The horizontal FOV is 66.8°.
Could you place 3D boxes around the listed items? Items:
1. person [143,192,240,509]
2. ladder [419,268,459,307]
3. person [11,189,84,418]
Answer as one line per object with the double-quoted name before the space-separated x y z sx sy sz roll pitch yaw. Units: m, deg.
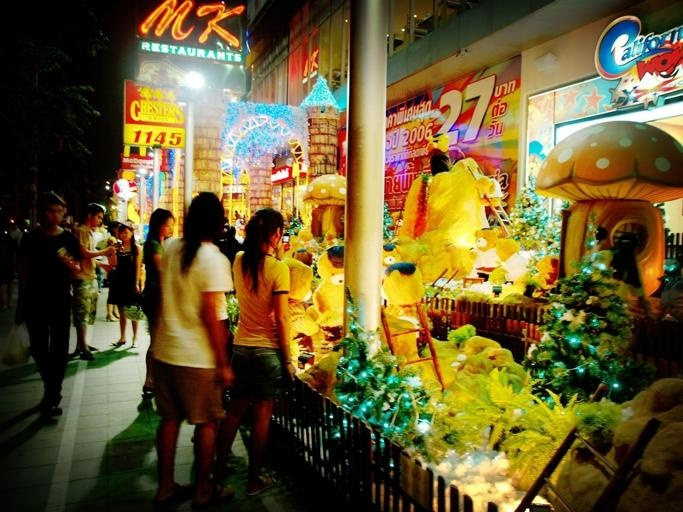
"person" -1.228 0.791 4.379 0.660 2.094 0.319 4 1 18
"ladder" 1.656 0.564 8.671 0.603 0.145 0.612 2 -37 41
"person" -3.351 0.533 5.946 0.635 1.784 0.367 3 1 -31
